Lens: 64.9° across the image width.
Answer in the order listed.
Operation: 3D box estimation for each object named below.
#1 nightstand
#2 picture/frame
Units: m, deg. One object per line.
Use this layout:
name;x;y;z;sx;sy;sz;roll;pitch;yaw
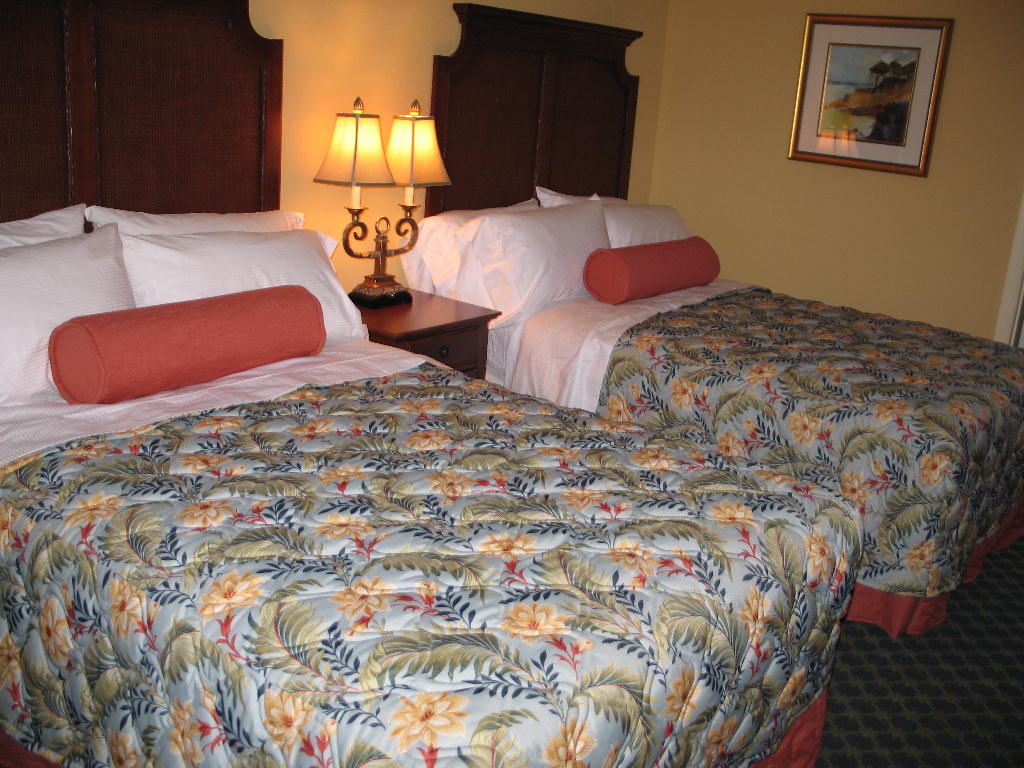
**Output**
nightstand;-0.411;-0.276;3.804;0.404;0.571;0.471;-27;44;-37
picture/frame;2.295;-1.834;5.055;0.932;1.017;0.075;20;25;34
